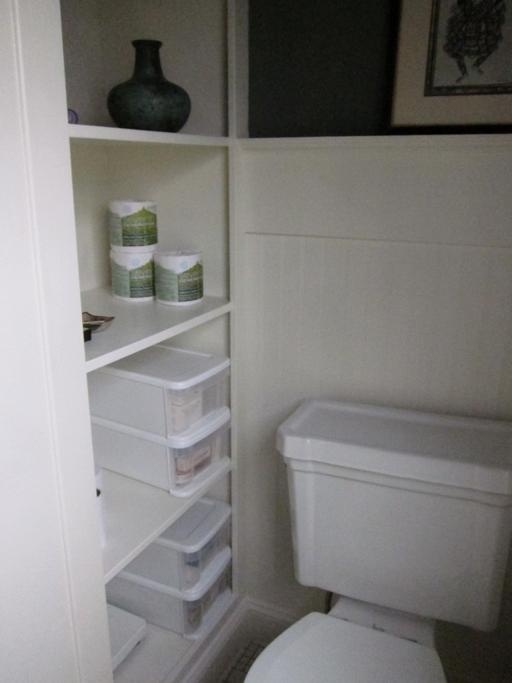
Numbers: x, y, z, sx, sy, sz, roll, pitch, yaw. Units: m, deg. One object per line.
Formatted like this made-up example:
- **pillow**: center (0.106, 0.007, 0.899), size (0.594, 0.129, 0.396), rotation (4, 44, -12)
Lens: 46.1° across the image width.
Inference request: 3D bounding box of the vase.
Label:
- **vase**: center (-0.204, -0.477, 1.152), size (0.153, 0.163, 0.156), rotation (-5, 17, -25)
